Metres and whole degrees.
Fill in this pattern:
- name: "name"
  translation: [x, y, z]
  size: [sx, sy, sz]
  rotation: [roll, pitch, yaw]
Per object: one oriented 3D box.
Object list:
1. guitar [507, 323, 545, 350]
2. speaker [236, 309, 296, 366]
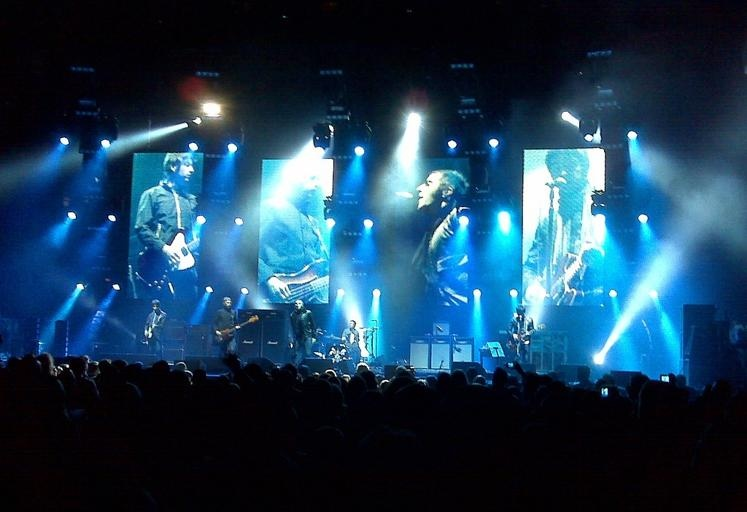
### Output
- name: "guitar"
  translation: [3.665, 1.986, 19.023]
  size: [0.651, 0.796, 0.386]
  rotation: [1, 6, 9]
- name: "speaker"
  translation: [-2.616, 1.982, 18.599]
  size: [1.496, 1.325, 0.513]
  rotation: [0, -5, 4]
